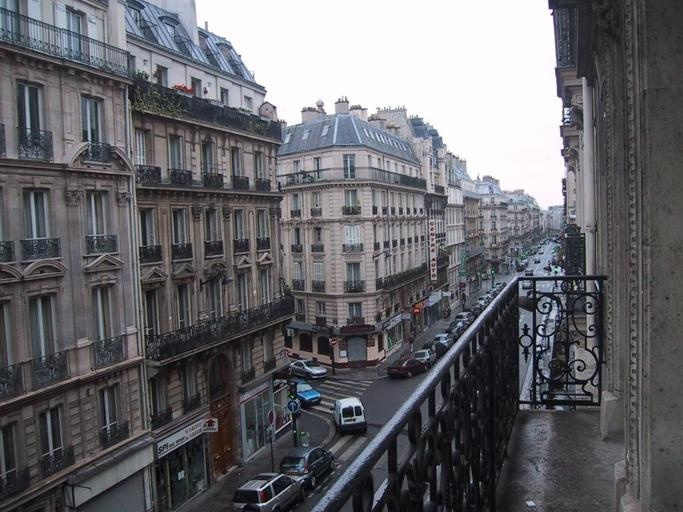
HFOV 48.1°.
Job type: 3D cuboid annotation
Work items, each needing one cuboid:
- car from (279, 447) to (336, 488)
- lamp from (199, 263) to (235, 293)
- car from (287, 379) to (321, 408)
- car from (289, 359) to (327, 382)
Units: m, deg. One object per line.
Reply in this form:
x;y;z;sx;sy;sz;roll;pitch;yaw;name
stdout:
-1.178;7.446;27.496;0.886;0.986;2.007;-1;2;21;car
-4.668;0.700;28.981;0.605;0.936;2.047;-5;3;22;lamp
-1.855;6.818;38.699;1.076;0.909;2.386;0;-3;-31;car
-1.949;6.673;44.716;1.585;1.019;2.360;-9;2;-28;car
